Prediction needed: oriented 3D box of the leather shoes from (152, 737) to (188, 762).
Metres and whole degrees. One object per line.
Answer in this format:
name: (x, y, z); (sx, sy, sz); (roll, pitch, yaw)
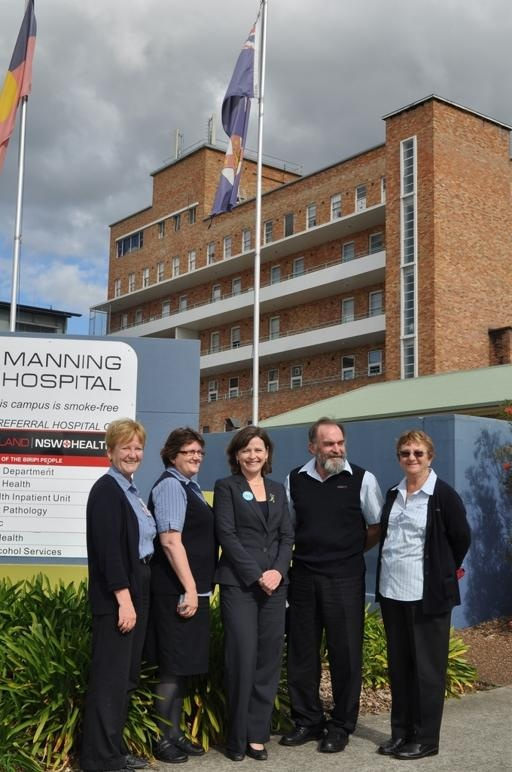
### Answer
leather shoes: (-0.469, 2.022, 4.104); (0.099, 0.071, 0.187); (15, -22, -39)

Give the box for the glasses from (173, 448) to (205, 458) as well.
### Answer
glasses: (-0.411, 0.405, 4.420); (0.097, 0.030, 0.085); (-20, -22, 40)

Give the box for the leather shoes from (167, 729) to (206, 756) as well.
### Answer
leather shoes: (-0.403, 2.041, 4.201); (0.215, 0.084, 0.098); (8, -12, 29)

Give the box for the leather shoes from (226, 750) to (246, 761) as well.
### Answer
leather shoes: (-0.110, 2.070, 4.131); (0.110, 0.048, 0.110); (-1, -6, -3)

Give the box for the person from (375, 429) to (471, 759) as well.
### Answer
person: (0.975, 1.312, 4.385); (0.581, 1.613, 0.382); (-1, -6, -6)

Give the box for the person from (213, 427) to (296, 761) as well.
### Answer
person: (0.007, 1.189, 4.403); (0.493, 1.900, 0.426); (0, -6, -14)

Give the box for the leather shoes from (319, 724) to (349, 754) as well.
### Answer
leather shoes: (0.462, 2.088, 4.355); (0.135, 0.119, 0.273); (-3, -6, 16)

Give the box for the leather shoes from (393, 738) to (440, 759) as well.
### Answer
leather shoes: (0.908, 2.055, 4.174); (0.240, 0.086, 0.089); (7, -19, -13)

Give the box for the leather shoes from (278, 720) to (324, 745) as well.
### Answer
leather shoes: (0.287, 2.123, 4.529); (0.301, 0.123, 0.099); (13, -8, -31)

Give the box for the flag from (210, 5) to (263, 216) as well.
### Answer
flag: (-0.480, -6.720, 18.225); (1.216, 5.049, 1.600); (-1, -6, -4)

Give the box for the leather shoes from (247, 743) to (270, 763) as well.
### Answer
leather shoes: (0.010, 2.065, 4.154); (0.114, 0.059, 0.141); (-1, -6, -2)

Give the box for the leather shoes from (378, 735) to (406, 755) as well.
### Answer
leather shoes: (0.793, 2.086, 4.282); (0.064, 0.073, 0.193); (-37, -33, 18)
